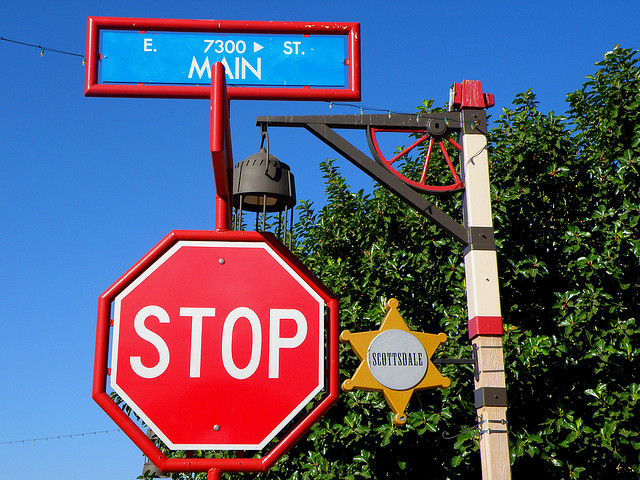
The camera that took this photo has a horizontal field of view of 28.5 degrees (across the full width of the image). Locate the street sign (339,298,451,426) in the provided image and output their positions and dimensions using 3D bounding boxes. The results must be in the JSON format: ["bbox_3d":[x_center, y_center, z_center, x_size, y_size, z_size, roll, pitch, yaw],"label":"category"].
[{"bbox_3d":[0.812,1.268,13.231,1.027,1.260,0.206,-1,1,1],"label":"street sign"}]

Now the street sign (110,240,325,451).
[{"bbox_3d":[-0.807,0.894,10.627,1.343,1.938,0.890,6,-22,-17],"label":"street sign"}]

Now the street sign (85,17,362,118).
[{"bbox_3d":[-0.872,-1.744,11.923,2.568,0.198,0.966,-1,-43,-8],"label":"street sign"}]
